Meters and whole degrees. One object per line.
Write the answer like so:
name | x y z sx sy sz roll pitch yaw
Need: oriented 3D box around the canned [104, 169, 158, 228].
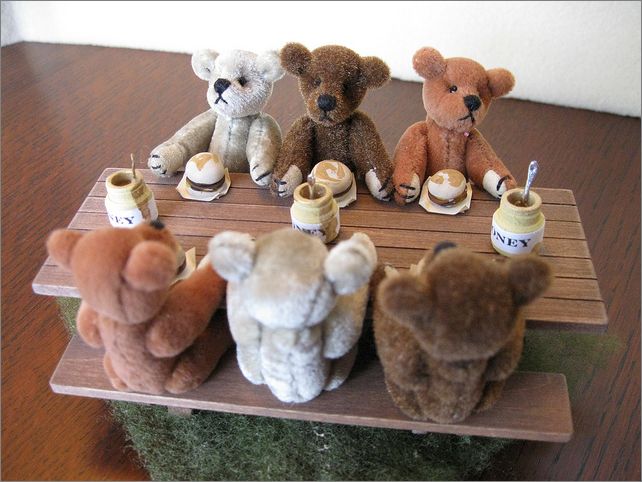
canned | -0.750 -0.165 2.326 0.177 0.192 0.193 1 38 2

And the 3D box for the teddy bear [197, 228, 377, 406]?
teddy bear | -0.059 0.157 2.084 0.539 0.773 0.573 -6 50 -4

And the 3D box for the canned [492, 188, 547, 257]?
canned | 0.736 -0.071 2.232 0.191 0.211 0.183 -23 42 -19

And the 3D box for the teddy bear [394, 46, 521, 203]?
teddy bear | 0.552 -0.472 2.485 0.477 0.632 0.463 1 34 -6

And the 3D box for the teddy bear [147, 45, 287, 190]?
teddy bear | -0.432 -0.492 2.634 0.552 0.680 0.489 1 41 0

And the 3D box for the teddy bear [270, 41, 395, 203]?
teddy bear | 0.058 -0.511 2.480 0.502 0.574 0.455 4 40 7

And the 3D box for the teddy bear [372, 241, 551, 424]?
teddy bear | 0.430 0.234 2.059 0.527 0.732 0.565 4 45 8

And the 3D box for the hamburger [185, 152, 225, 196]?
hamburger | -0.478 -0.277 2.428 0.152 0.144 0.155 -3 21 -12

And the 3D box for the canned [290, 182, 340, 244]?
canned | -0.024 -0.112 2.267 0.190 0.194 0.195 -20 44 -12

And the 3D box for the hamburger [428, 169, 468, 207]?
hamburger | 0.498 -0.214 2.367 0.136 0.103 0.146 1 44 15
